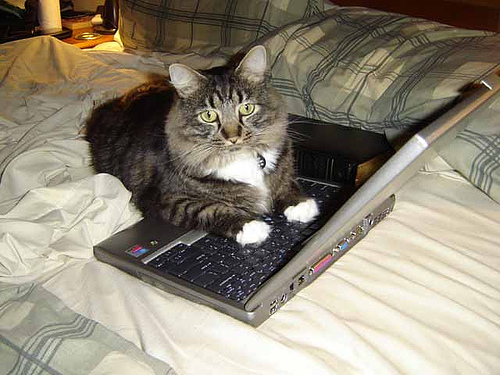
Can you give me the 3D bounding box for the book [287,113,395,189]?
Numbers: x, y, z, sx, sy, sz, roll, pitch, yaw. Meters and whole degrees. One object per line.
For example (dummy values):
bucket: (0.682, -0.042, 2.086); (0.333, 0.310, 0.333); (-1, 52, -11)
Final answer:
book: (0.351, -0.153, 1.419); (0.446, 0.098, 0.306); (16, 38, 27)
